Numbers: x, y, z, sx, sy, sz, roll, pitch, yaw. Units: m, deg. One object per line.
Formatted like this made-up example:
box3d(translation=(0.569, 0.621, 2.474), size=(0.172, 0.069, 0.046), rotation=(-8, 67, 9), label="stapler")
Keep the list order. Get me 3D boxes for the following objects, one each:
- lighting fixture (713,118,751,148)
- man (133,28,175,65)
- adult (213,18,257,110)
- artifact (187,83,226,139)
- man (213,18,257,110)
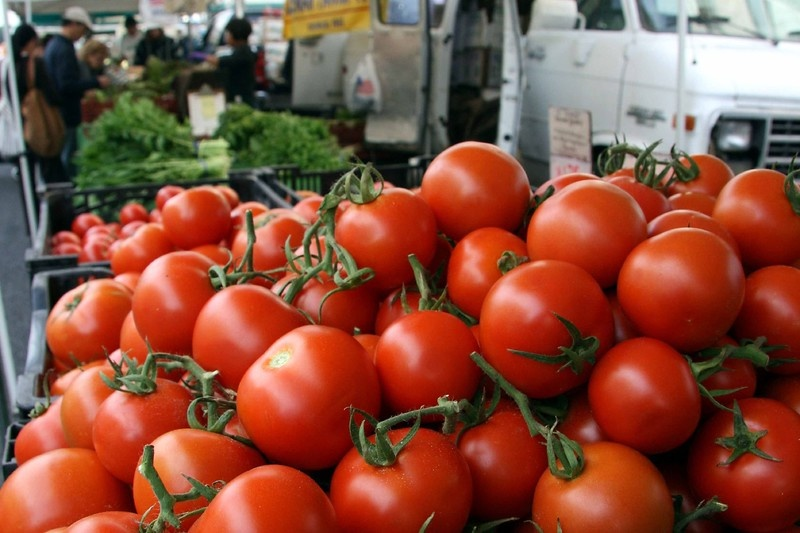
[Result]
box3d(translation=(2.201, -0.874, 4.321), size=(0.217, 0.218, 0.051), rotation=(0, 11, -17), label="lighting fixture")
box3d(translation=(-3.093, -2.821, 8.373), size=(0.309, 0.483, 0.644), rotation=(12, 17, 35), label="man")
box3d(translation=(-1.427, -1.800, 5.712), size=(0.311, 0.741, 0.333), rotation=(-1, 14, -13), label="adult")
box3d(translation=(-1.463, -1.173, 4.941), size=(0.262, 0.383, 0.220), rotation=(-5, 15, -27), label="artifact")
box3d(translation=(-1.429, -1.800, 5.715), size=(0.319, 0.741, 0.346), rotation=(-2, 14, -15), label="man")
